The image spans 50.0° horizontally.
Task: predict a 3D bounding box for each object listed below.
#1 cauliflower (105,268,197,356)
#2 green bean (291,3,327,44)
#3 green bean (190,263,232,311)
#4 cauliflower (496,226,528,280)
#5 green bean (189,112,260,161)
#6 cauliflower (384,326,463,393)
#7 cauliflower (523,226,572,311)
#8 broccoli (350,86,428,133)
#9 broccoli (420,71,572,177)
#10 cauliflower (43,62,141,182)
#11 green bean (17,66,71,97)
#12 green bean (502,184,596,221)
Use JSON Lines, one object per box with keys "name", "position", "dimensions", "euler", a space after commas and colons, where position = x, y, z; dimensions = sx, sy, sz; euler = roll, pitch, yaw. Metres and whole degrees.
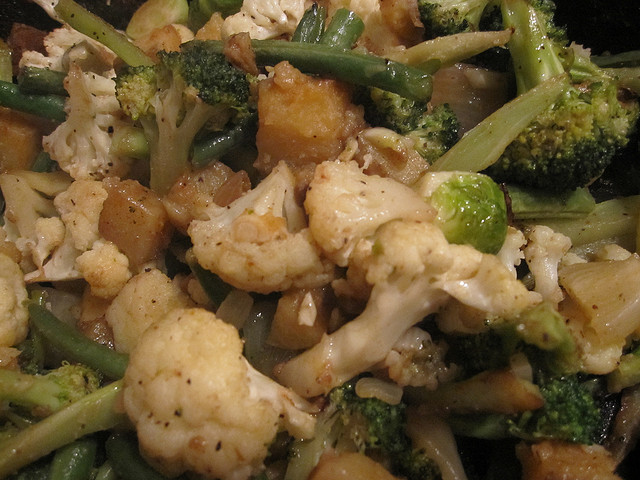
{"name": "cauliflower", "position": [-0.764, 0.336, 3.079], "dimensions": [0.361, 0.146, 0.362], "euler": [-49, 64, 8]}
{"name": "green bean", "position": [-0.052, -0.947, 3.154], "dimensions": [0.112, 0.072, 0.216], "euler": [26, 81, 5]}
{"name": "green bean", "position": [-0.455, 0.183, 3.040], "dimensions": [0.188, 0.180, 0.056], "euler": [45, 45, -13]}
{"name": "cauliflower", "position": [0.843, 0.057, 2.991], "dimensions": [0.137, 0.054, 0.208], "euler": [2, 81, -6]}
{"name": "green bean", "position": [-0.461, -0.511, 3.109], "dimensions": [0.158, 0.279, 0.064], "euler": [22, 92, 35]}
{"name": "cauliflower", "position": [0.436, 0.521, 2.910], "dimensions": [0.329, 0.094, 0.257], "euler": [22, 83, -21]}
{"name": "cauliflower", "position": [0.969, 0.122, 2.977], "dimensions": [0.209, 0.085, 0.316], "euler": [24, 68, -2]}
{"name": "broccoli", "position": [0.295, -0.576, 3.065], "dimensions": [0.261, 0.218, 0.088], "euler": [1, 57, 18]}
{"name": "broccoli", "position": [0.794, -0.502, 3.054], "dimensions": [0.693, 0.077, 0.163], "euler": [-40, 69, 10]}
{"name": "cauliflower", "position": [-1.033, -0.638, 3.182], "dimensions": [0.127, 0.299, 0.376], "euler": [-9, 22, 32]}
{"name": "green bean", "position": [-1.273, -0.738, 3.273], "dimensions": [0.280, 0.118, 0.136], "euler": [7, 49, 21]}
{"name": "green bean", "position": [1.030, -0.204, 3.123], "dimensions": [0.419, 0.257, 0.124], "euler": [-1, 65, -10]}
